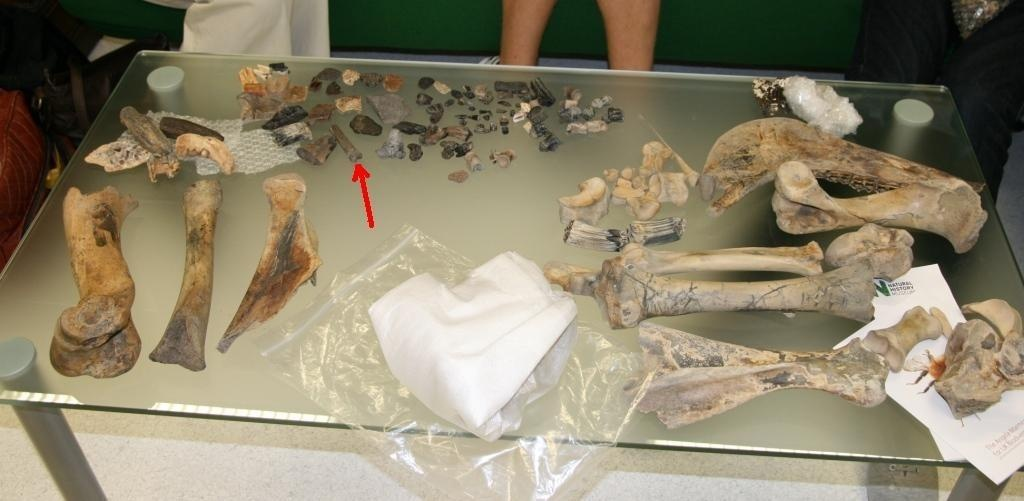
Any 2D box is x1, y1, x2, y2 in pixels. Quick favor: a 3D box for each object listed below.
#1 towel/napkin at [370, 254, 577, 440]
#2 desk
[{"bbox_3d":[-0.130,0.247,2.232,0.662,0.213,0.625,21,47,-2],"label":"towel/napkin"},{"bbox_3d":[-0.092,0.155,2.431,3.102,1.551,0.794,4,18,0],"label":"desk"}]
